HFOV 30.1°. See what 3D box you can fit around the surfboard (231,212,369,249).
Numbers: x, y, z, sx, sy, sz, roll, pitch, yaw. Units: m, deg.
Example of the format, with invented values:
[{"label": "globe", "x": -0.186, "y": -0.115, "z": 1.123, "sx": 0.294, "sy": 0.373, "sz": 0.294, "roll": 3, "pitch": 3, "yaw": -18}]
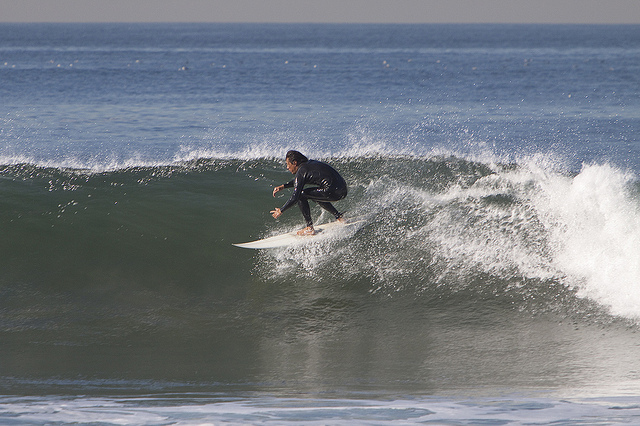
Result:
[{"label": "surfboard", "x": -0.633, "y": 0.760, "z": 47.166, "sx": 7.231, "sy": 0.791, "sz": 0.480, "roll": -7, "pitch": -14, "yaw": 0}]
